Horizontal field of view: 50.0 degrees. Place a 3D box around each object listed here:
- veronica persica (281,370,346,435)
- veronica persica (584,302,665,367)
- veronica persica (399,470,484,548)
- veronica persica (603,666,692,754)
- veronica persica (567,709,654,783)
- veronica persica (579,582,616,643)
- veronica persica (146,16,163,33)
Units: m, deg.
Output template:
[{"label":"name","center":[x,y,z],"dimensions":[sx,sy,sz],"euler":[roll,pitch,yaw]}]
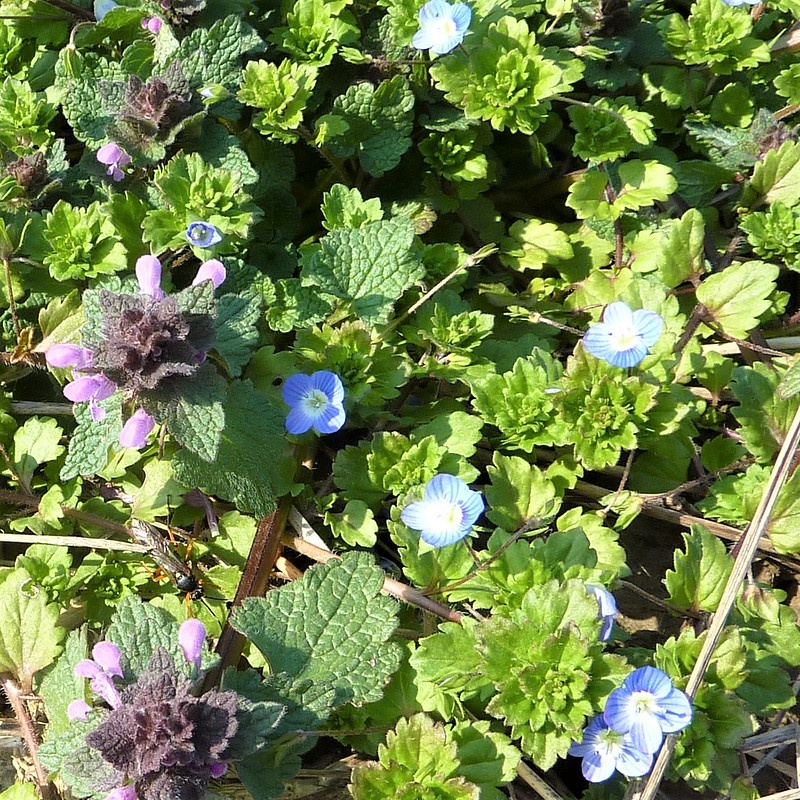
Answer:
[{"label":"veronica persica","center":[-0.255,0.016,2.567],"dimensions":[0.175,0.167,0.185],"euler":[-2,54,-5]},{"label":"veronica persica","center":[0.629,-0.187,2.429],"dimensions":[0.169,0.180,0.156],"euler":[30,58,17]},{"label":"veronica persica","center":[0.116,0.291,2.255],"dimensions":[0.223,0.129,0.198],"euler":[9,65,26]},{"label":"veronica persica","center":[0.549,0.682,1.973],"dimensions":[0.158,0.148,0.052],"euler":[-28,94,-57]},{"label":"veronica persica","center":[0.508,0.867,2.135],"dimensions":[0.220,0.067,0.220],"euler":[-5,28,30]},{"label":"veronica persica","center":[0.513,0.530,2.137],"dimensions":[0.041,0.116,0.124],"euler":[-3,53,31]},{"label":"veronica persica","center":[-0.872,-1.353,3.079],"dimensions":[0.074,0.024,0.067],"euler":[-5,81,-6]}]
